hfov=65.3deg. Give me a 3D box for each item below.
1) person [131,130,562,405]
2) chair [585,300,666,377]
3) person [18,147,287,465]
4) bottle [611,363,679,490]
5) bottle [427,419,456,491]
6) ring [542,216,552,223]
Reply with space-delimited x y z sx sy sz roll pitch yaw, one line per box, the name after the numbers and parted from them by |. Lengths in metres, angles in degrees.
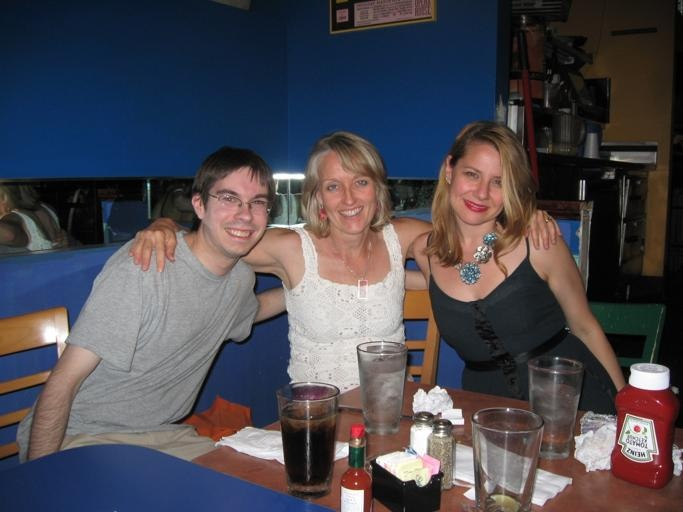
0.005 0.052 2.042 1.450 0.954 0.390 -2 4 -17 | person
1.093 0.302 2.158 0.257 0.337 0.274 4 12 26 | chair
-0.579 0.122 1.754 0.420 0.951 0.816 2 9 28 | person
0.694 0.366 1.181 0.187 0.257 0.102 -6 9 -18 | bottle
0.216 0.432 1.162 0.064 0.140 0.054 -11 11 -43 | bottle
0.806 -0.143 2.082 0.032 0.009 0.031 -5 17 1 | ring
